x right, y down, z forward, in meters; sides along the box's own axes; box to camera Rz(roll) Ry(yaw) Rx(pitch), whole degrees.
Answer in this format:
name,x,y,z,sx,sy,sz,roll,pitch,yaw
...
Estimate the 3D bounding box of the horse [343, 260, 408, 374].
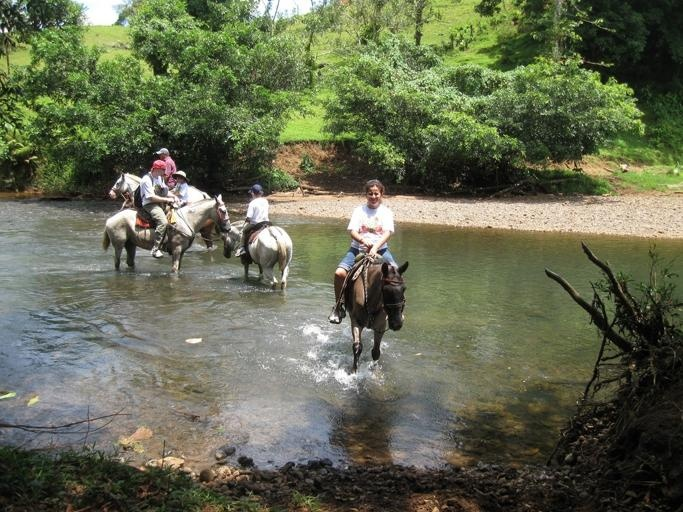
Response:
name,x,y,z,sx,sy,sz,roll,pitch,yaw
horse,0.632,1.136,12.305,0.766,2.244,1.728,-1,8,-19
